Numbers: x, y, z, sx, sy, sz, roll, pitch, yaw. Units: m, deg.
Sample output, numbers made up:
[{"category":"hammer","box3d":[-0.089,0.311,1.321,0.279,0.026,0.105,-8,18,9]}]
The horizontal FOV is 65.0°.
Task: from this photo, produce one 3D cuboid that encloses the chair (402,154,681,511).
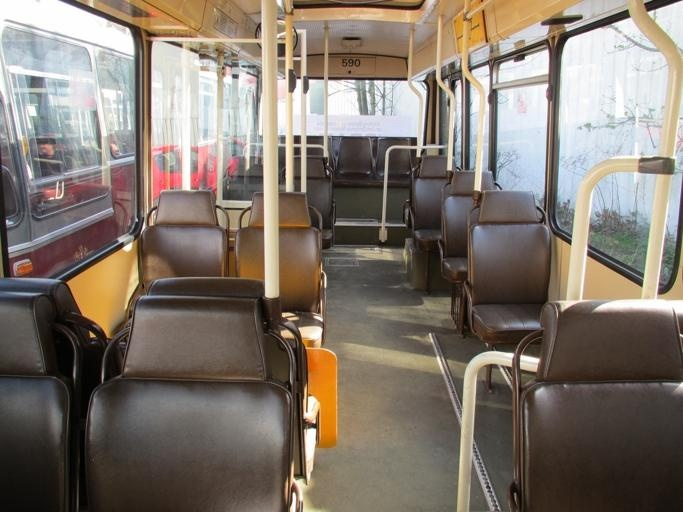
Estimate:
[{"category":"chair","box3d":[0.790,0.382,2.068,0.681,1.532,0.480,1,12,0]}]
